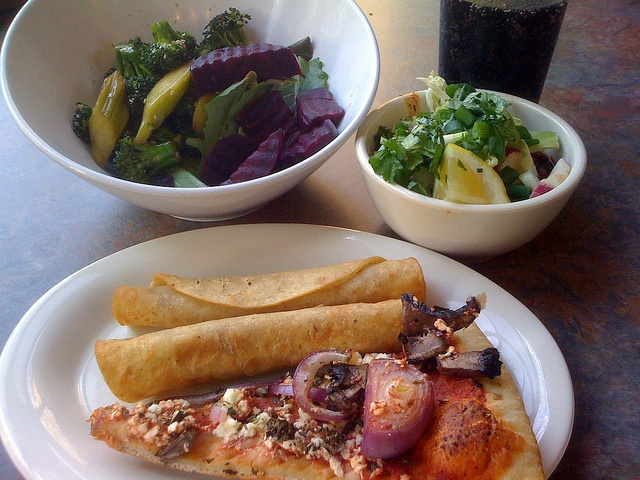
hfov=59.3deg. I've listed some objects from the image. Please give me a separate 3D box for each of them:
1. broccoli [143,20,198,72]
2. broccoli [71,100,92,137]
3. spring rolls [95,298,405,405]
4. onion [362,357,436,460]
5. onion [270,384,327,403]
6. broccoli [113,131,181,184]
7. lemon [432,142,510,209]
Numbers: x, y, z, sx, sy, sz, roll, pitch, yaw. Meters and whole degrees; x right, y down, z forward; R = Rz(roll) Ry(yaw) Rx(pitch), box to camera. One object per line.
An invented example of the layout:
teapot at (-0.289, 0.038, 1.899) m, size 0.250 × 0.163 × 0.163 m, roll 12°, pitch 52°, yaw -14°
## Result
broccoli at (-0.458, -0.592, 1.720) m, size 0.164 × 0.156 × 0.135 m, roll -16°, pitch 32°, yaw -27°
broccoli at (-0.680, -0.342, 1.593) m, size 0.062 × 0.028 × 0.090 m, roll -2°, pitch 69°, yaw -10°
spring rolls at (-0.187, 0.255, 1.330) m, size 0.732 × 0.189 × 0.219 m, roll -10°, pitch 78°, yaw 1°
onion at (0.167, 0.363, 1.203) m, size 0.142 × 0.081 × 0.206 m, roll 4°, pitch 56°, yaw 10°
onion at (-0.051, 0.338, 1.251) m, size 0.081 × 0.053 × 0.022 m, roll 6°, pitch 92°, yaw -1°
broccoli at (-0.480, -0.224, 1.557) m, size 0.172 × 0.093 × 0.099 m, roll -20°, pitch 54°, yaw -7°
lemon at (0.366, -0.154, 1.398) m, size 0.161 × 0.100 × 0.168 m, roll -12°, pitch 54°, yaw -2°
